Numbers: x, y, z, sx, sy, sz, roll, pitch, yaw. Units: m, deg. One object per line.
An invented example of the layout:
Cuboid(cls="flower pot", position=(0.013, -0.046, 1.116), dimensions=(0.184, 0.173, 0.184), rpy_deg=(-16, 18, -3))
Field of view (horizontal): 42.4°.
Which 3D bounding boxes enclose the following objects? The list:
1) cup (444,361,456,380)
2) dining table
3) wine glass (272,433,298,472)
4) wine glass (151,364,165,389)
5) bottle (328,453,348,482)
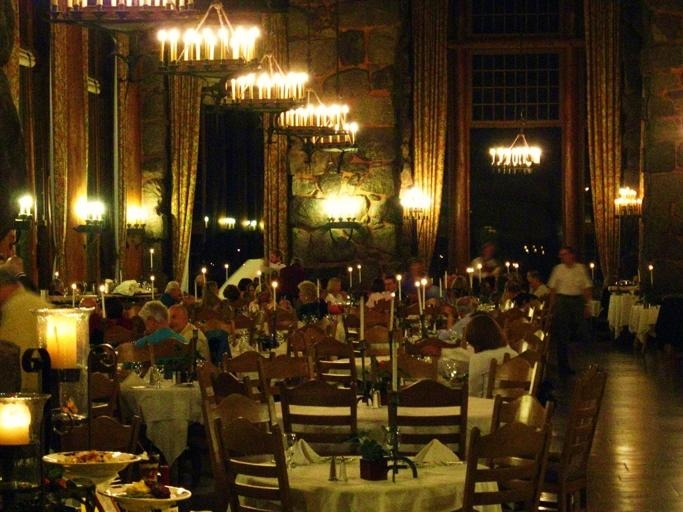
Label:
Cuboid(cls="cup", position=(0.926, 0.963, 7.424), dimensions=(0.106, 0.119, 0.191), rpy_deg=(7, -11, 0))
Cuboid(cls="dining table", position=(5.666, 1.303, 17.043), dimensions=(0.776, 0.618, 1.107), rpy_deg=(2, 4, 7))
Cuboid(cls="wine glass", position=(-0.283, 1.123, 5.090), dimensions=(0.136, 0.179, 0.130), rpy_deg=(6, 6, -32))
Cuboid(cls="wine glass", position=(-1.613, 1.049, 7.714), dimensions=(0.130, 0.222, 0.128), rpy_deg=(-5, -6, 31))
Cuboid(cls="bottle", position=(-0.014, 1.189, 4.891), dimensions=(0.075, 0.135, 0.114), rpy_deg=(2, -21, -3))
